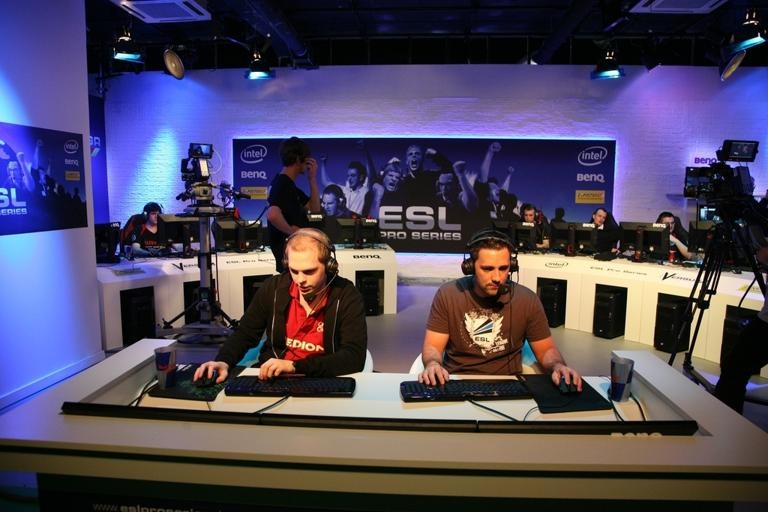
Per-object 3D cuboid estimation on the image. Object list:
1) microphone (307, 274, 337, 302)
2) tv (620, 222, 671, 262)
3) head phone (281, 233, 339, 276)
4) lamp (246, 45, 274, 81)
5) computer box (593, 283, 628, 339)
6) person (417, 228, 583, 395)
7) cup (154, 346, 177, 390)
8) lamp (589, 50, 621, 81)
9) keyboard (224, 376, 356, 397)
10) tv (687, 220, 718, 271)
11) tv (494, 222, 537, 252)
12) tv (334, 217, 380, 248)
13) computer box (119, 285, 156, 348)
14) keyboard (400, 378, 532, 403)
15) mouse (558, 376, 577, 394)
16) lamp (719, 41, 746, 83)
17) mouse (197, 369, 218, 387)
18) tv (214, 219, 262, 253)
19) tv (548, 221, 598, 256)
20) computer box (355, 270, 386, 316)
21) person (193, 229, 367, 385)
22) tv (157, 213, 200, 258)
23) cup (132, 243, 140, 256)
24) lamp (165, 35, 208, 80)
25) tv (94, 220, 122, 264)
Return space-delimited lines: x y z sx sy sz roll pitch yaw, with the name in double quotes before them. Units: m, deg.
"microphone" -0.446 0.217 4.099 0.280 0.212 0.098 -4 11 -37
"tv" 3.149 -0.189 7.168 0.231 0.457 0.630 -5 10 -39
"head phone" -0.536 -0.011 4.064 0.382 0.317 0.146 0 22 16
"lamp" -1.907 -2.967 8.863 0.437 0.474 0.436 -1 12 -1
"computer box" 2.712 0.656 7.019 0.399 0.611 0.341 2 9 1
"person" 0.739 0.489 4.137 0.955 1.278 0.884 0 4 -1
"cup" -1.441 0.724 3.788 0.151 0.239 0.154 3 6 0
"lamp" 3.294 -2.849 8.682 0.448 0.299 0.444 5 29 21
"keyboard" -0.609 0.839 3.759 0.831 0.097 0.187 2 9 -1
"tv" 3.688 -0.221 6.769 0.119 0.358 0.362 -19 12 -25
"tv" 1.492 -0.232 6.623 0.464 0.357 0.148 0 16 7
"tv" -0.393 -0.321 8.051 0.485 0.347 0.157 1 7 0
"computer box" -2.749 0.651 6.494 0.358 0.623 0.245 -2 10 -23
"keyboard" 0.511 0.861 3.750 0.828 0.107 0.197 2 9 -3
"mouse" 1.175 0.826 3.746 0.144 0.077 0.117 5 9 16
"lamp" 4.309 -2.446 7.241 0.178 0.332 0.480 6 9 22
"mouse" -1.156 0.777 3.781 0.146 0.104 0.102 0 9 -14
"tv" -1.857 -0.287 7.458 0.600 0.412 0.335 -3 10 -24
"tv" 2.453 -0.229 7.608 0.450 0.345 0.183 2 6 13
"computer box" -0.182 0.488 7.740 0.401 0.633 0.584 0 20 -2
"person" -0.650 0.418 4.037 1.028 1.103 1.255 10 12 43
"tv" -2.517 -0.272 7.153 0.435 0.490 0.681 -1 9 -21
"cup" -3.020 -0.101 7.103 0.108 0.109 0.248 -2 10 -24
"lamp" -2.976 -3.071 8.871 0.409 0.459 0.699 24 50 18
"tv" -3.244 -0.168 6.824 0.253 0.451 0.413 -2 10 -23
